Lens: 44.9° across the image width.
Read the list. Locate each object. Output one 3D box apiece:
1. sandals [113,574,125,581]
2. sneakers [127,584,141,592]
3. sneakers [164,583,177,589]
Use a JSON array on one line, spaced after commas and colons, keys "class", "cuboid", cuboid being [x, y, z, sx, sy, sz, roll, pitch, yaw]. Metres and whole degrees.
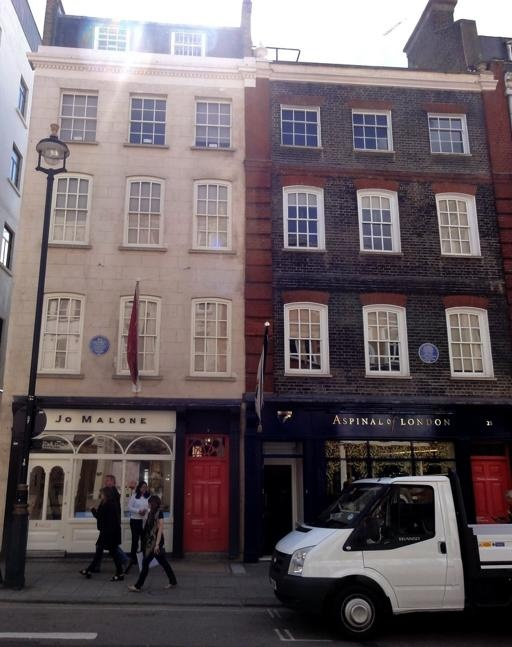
[{"class": "sandals", "cuboid": [-2.572, 4.780, 11.650, 0.218, 0.114, 0.271, 5, -14, -14]}, {"class": "sneakers", "cuboid": [-2.116, 4.608, 10.762, 0.278, 0.109, 0.101, -2, -16, 37]}, {"class": "sneakers", "cuboid": [-1.521, 4.747, 11.198, 0.234, 0.074, 0.229, 5, -14, -14]}]
